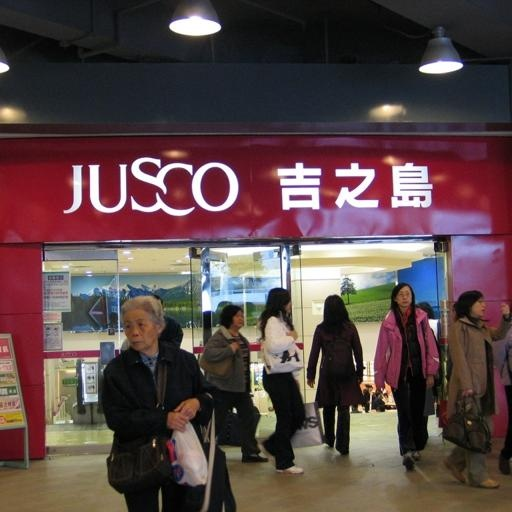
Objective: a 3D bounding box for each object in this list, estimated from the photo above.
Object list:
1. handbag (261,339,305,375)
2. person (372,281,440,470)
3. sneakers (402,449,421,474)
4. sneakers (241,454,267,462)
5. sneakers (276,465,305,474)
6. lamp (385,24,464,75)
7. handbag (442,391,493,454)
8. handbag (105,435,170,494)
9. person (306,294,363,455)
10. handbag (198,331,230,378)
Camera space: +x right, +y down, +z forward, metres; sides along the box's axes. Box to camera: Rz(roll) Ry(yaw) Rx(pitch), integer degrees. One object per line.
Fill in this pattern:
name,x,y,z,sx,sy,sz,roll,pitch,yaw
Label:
handbag,0.231,0.884,4.479,0.343,0.251,0.214,-2,-9,4
person,1.354,1.067,4.727,0.576,1.637,0.539,-1,-9,-7
sneakers,1.415,1.806,4.644,0.122,0.187,0.413,-1,-4,10
sneakers,-0.016,1.957,5.059,0.262,0.109,0.091,-2,-4,0
sneakers,0.310,1.864,4.556,0.245,0.104,0.086,-3,-1,8
lamp,1.687,-1.981,5.036,0.445,0.472,0.431,1,-8,-9
handbag,1.544,1.237,3.822,0.319,0.389,0.274,-6,-10,23
handbag,-0.451,0.808,2.017,0.239,0.251,0.095,-16,-27,10
person,0.822,1.208,5.343,0.526,1.599,0.339,-7,-11,33
handbag,-0.409,0.944,5.062,0.264,0.523,0.369,14,-11,-25
